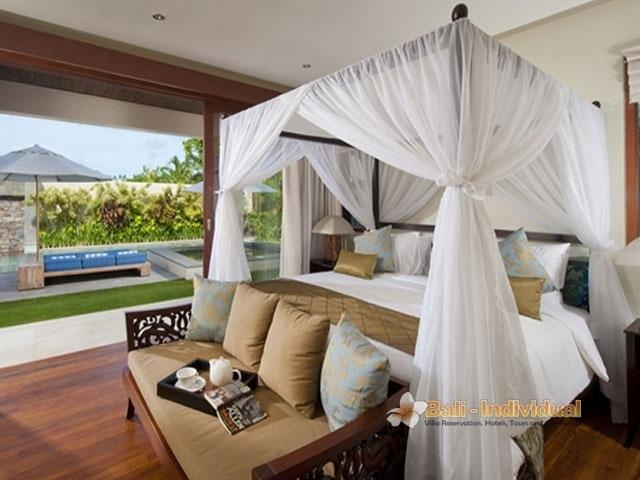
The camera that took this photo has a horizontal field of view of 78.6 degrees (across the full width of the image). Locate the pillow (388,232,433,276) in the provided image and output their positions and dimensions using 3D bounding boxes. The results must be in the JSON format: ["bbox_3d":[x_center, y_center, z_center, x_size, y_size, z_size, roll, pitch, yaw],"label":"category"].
[{"bbox_3d":[1.051,0.131,4.627,0.428,0.372,0.442,-3,6,-25],"label":"pillow"}]

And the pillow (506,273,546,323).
[{"bbox_3d":[1.591,0.431,3.027,0.254,0.274,0.270,4,11,19],"label":"pillow"}]

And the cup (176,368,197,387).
[{"bbox_3d":[-0.859,0.888,2.561,0.086,0.087,0.115,1,-4,14],"label":"cup"}]

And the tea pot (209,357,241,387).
[{"bbox_3d":[-0.627,0.845,2.591,0.197,0.172,0.151,7,2,36],"label":"tea pot"}]

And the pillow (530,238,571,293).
[{"bbox_3d":[2.035,0.208,3.468,0.110,0.403,0.388,2,13,-14],"label":"pillow"}]

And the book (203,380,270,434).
[{"bbox_3d":[-0.502,0.993,2.348,0.236,0.075,0.247,-9,39,-35],"label":"book"}]

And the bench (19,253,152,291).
[{"bbox_3d":[-4.151,0.494,7.019,2.017,0.517,0.773,-9,15,-43],"label":"bench"}]

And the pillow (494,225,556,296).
[{"bbox_3d":[1.724,0.157,3.350,0.488,0.576,0.165,-12,-17,-12],"label":"pillow"}]

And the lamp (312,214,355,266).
[{"bbox_3d":[0.226,-0.021,5.720,0.607,0.737,0.636,-1,6,-21],"label":"lamp"}]

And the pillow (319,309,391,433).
[{"bbox_3d":[0.176,0.789,2.270,0.279,0.574,0.468,-4,11,-23],"label":"pillow"}]
